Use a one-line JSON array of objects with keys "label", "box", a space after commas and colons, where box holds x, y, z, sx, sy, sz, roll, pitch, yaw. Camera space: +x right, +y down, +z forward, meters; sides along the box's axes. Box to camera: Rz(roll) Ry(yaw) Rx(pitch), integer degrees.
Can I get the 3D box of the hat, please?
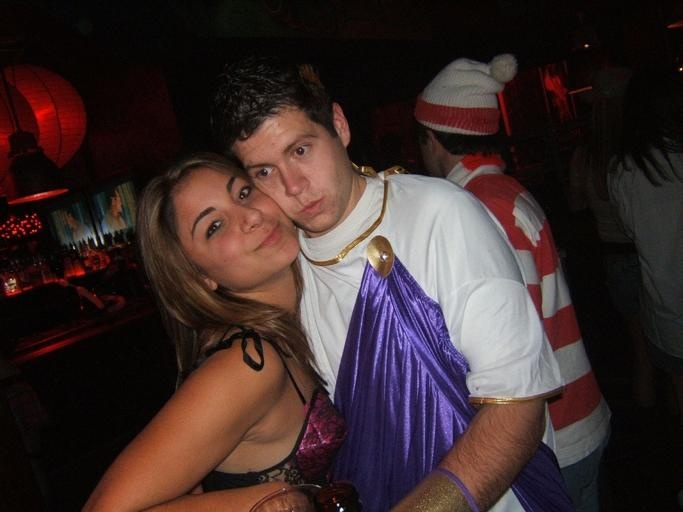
[{"label": "hat", "box": [0.811, -1.076, 3.432, 0.567, 0.463, 0.489, 25, 42, 29]}]
